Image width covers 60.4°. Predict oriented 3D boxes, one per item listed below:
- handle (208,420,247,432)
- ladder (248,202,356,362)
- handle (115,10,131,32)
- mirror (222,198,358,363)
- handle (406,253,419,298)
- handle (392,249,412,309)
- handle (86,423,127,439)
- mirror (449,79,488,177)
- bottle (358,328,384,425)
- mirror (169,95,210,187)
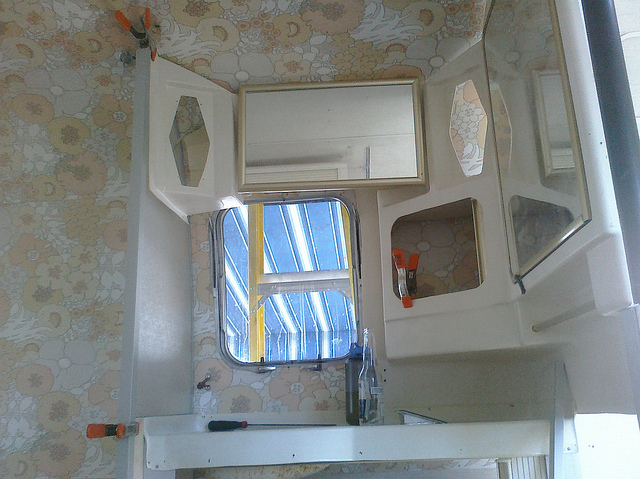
[{"bbox_3d":[-0.388,0.774,2.306,0.143,0.036,0.204,2,-13,-23],"label":"handle"},{"bbox_3d":[-0.081,0.190,2.670,0.548,0.116,1.042,-4,-55,-10],"label":"ladder"},{"bbox_3d":[-0.817,-0.923,2.317,0.021,0.048,0.091,-2,-37,19],"label":"handle"},{"bbox_3d":[-0.185,0.213,2.688,0.746,0.958,0.047,-6,26,-5],"label":"mirror"},{"bbox_3d":[0.403,0.151,2.392,0.038,0.202,0.053,1,-1,7],"label":"handle"},{"bbox_3d":[0.356,0.165,2.381,0.047,0.266,0.083,-2,-11,-5],"label":"handle"},{"bbox_3d":[-0.718,0.639,1.845,0.140,0.048,0.038,-6,-12,13],"label":"handle"},{"bbox_3d":[0.643,-0.480,2.393,0.161,0.447,0.089,-6,-12,15],"label":"mirror"},{"bbox_3d":[0.215,0.544,2.221,0.109,0.371,0.158,2,-12,-21],"label":"bottle"},{"bbox_3d":[-0.586,-0.440,2.467,0.226,0.525,0.023,0,-4,-30],"label":"mirror"}]
